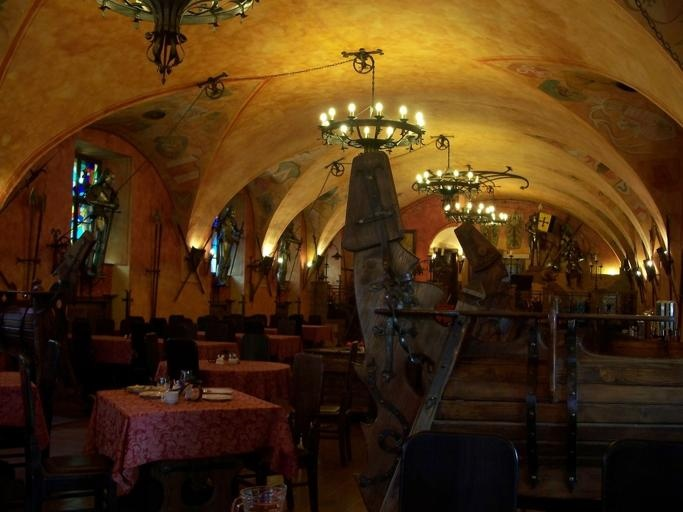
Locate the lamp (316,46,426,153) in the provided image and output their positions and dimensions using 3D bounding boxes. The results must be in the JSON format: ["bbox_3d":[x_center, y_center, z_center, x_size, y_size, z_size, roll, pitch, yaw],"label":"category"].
[{"bbox_3d":[0.349,-2.182,8.159,1.199,1.308,1.223,-5,6,-14],"label":"lamp"}]

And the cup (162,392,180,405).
[{"bbox_3d":[-1.198,0.982,4.137,0.106,0.086,0.160,2,-9,-18],"label":"cup"}]

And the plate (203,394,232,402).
[{"bbox_3d":[-0.902,1.023,4.287,0.111,0.021,0.081,6,0,-2],"label":"plate"}]

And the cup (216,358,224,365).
[{"bbox_3d":[-1.341,1.161,6.541,0.064,0.067,0.068,3,1,0],"label":"cup"}]
